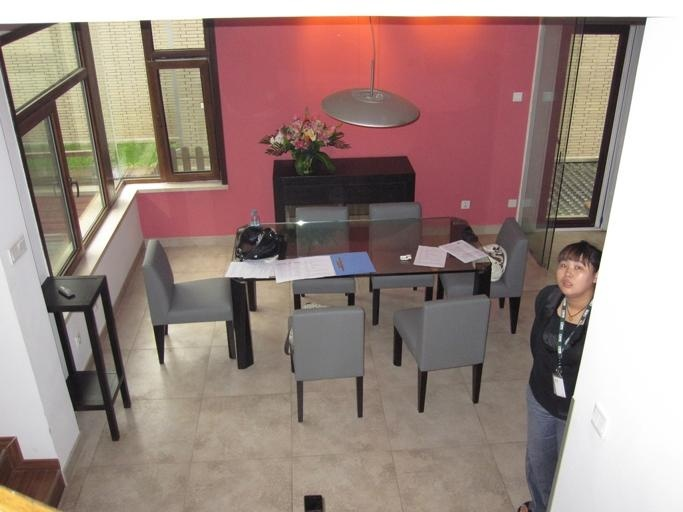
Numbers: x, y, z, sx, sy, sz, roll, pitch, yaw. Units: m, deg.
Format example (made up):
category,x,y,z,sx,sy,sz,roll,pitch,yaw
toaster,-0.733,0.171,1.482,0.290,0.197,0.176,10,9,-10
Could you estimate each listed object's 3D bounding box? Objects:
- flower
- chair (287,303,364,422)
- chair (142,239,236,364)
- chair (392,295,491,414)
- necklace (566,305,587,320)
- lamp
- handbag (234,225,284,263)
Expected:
category,x,y,z,sx,sy,sz,roll,pitch,yaw
flower,-0.423,-1.419,5.810,0.788,0.591,0.793,-3,32,-3
chair,-0.107,0.821,3.883,0.522,0.902,0.671,-2,42,-3
chair,-1.398,0.461,4.790,0.753,1.076,0.659,-3,33,-8
chair,0.786,0.656,4.108,0.583,0.974,0.508,-6,26,-10
necklace,1.240,0.312,2.792,0.089,0.075,0.050,11,28,24
lamp,0.200,-1.095,3.604,0.659,0.452,0.451,-2,25,-1
handbag,-0.720,-0.161,4.619,0.443,0.171,0.631,-4,25,-5
